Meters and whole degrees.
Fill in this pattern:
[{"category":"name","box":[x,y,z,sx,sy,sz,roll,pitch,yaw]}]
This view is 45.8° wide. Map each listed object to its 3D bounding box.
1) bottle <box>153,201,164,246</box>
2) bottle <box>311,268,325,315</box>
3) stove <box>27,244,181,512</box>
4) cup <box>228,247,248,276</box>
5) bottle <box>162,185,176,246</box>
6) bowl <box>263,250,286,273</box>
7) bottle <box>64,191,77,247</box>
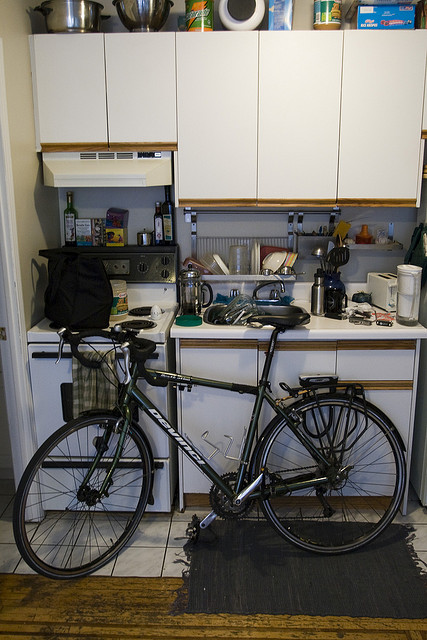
[{"category":"bottle","box":[-0.295,-0.513,2.692,0.063,0.232,0.106,0,11,2]},{"category":"bottle","box":[0.516,-0.136,2.504,0.064,0.205,0.147,1,11,12]},{"category":"stove","box":[-0.499,0.297,2.384,0.660,1.233,0.910,-1,11,-2]},{"category":"cup","box":[0.131,-0.315,2.714,0.095,0.143,0.078,-11,15,-43]},{"category":"bottle","box":[-0.238,-0.553,2.688,0.066,0.311,0.119,-2,11,-4]},{"category":"bowl","box":[0.320,-0.310,2.707,0.091,0.113,0.117,-24,17,-24]},{"category":"bottle","box":[-0.768,-0.533,2.699,0.069,0.283,0.099,-4,11,-14]}]
